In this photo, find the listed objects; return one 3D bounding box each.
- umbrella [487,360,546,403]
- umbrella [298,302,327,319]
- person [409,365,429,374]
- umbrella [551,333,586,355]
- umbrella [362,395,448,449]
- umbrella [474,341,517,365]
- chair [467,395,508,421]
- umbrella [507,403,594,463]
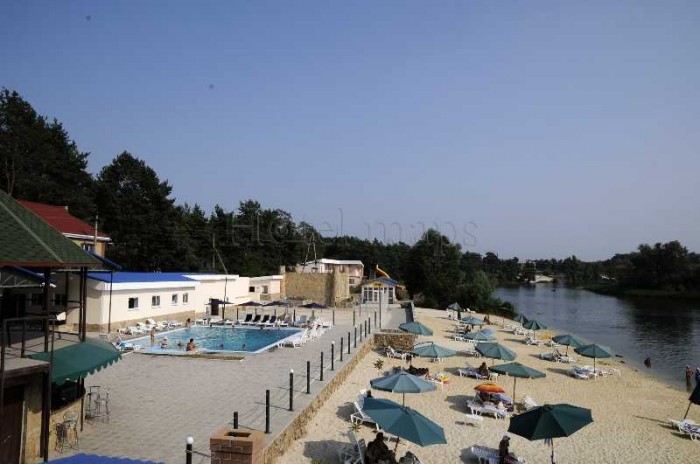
[{"bbox_3d":[10.557,9.359,28.992,3.234,2.537,3.302,2,0,33],"label":"umbrella"},{"bbox_3d":[-4.037,8.728,50.342,2.948,1.689,2.789,-1,0,9],"label":"umbrella"},{"bbox_3d":[4.673,9.482,31.755,0.835,0.430,1.142,1,-7,-7],"label":"person"},{"bbox_3d":[18.209,8.947,38.282,2.715,1.212,2.492,-1,0,-31],"label":"umbrella"},{"bbox_3d":[2.404,8.139,19.642,2.613,0.851,2.490,13,11,-8],"label":"umbrella"},{"bbox_3d":[9.807,7.983,31.011,2.613,1.064,2.438,1,-2,-38],"label":"umbrella"},{"bbox_3d":[7.867,10.051,26.286,1.707,0.682,1.043,-2,-2,15],"label":"chair"},{"bbox_3d":[9.043,8.624,20.978,2.846,1.792,2.610,-18,-6,0],"label":"umbrella"}]
